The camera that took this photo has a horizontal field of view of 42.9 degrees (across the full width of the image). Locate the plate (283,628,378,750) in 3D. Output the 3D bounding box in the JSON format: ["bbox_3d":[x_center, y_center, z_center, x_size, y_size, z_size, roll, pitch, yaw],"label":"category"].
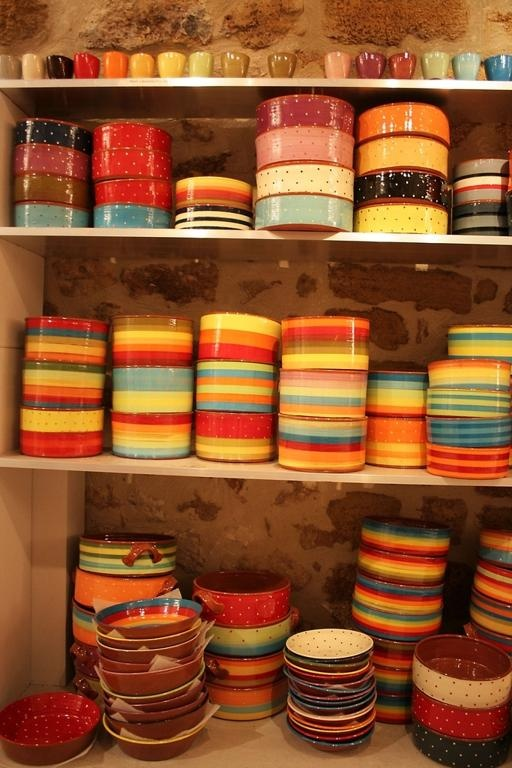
[{"bbox_3d":[0.132,0.599,1.330,0.207,0.201,0.199,-2,-8,-1],"label":"plate"}]

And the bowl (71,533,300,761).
[{"bbox_3d":[-0.214,0.544,1.456,0.359,0.317,0.464,1,-3,-4],"label":"bowl"}]

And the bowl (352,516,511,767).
[{"bbox_3d":[0.267,0.515,1.416,0.362,0.393,0.396,0,-2,0],"label":"bowl"}]
